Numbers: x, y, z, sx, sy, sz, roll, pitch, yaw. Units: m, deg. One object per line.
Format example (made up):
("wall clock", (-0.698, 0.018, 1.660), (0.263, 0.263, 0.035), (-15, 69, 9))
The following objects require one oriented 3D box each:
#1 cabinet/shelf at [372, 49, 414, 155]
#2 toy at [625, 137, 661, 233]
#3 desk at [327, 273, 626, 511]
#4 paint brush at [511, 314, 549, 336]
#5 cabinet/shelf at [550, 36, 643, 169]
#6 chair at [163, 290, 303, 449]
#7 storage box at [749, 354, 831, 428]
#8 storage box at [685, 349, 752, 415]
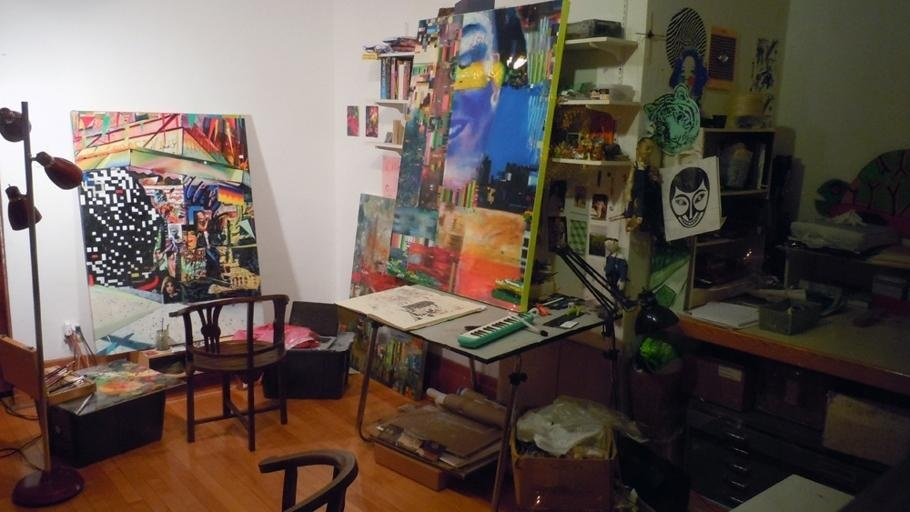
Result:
("cabinet/shelf", (-0.562, -1.449, 5.844), (0.342, 0.884, 1.003), (3, 8, -1))
("toy", (1.467, -0.518, 4.799), (0.375, 0.748, 0.137), (-13, 19, -30))
("desk", (0.193, 0.545, 5.136), (1.804, 1.433, 2.120), (-8, 16, -43))
("paint brush", (0.560, 0.508, 4.694), (0.094, 0.063, 0.319), (-41, 32, -12))
("cabinet/shelf", (1.106, -1.179, 4.806), (0.336, 0.853, 0.998), (-3, 8, -38))
("chair", (-1.972, 0.949, 5.568), (1.054, 1.197, 1.028), (0, 1, -22))
("storage box", (2.424, 0.976, 4.497), (0.298, 0.476, 0.562), (-7, 11, -41))
("storage box", (2.003, 0.955, 4.722), (0.511, 0.410, 0.262), (10, 19, 42))
